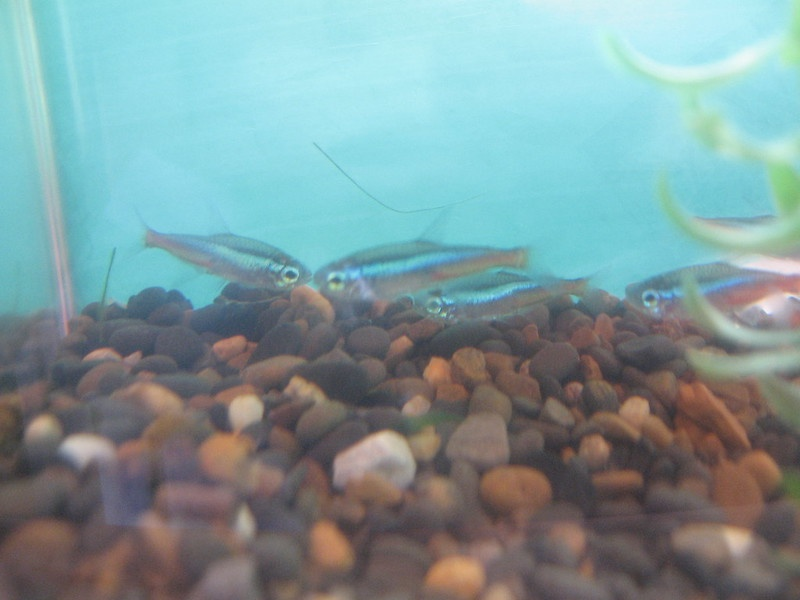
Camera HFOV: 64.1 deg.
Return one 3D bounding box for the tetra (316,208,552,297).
[{"bbox_3d":[0.080,-0.103,1.961,0.674,0.224,0.151,-20,2,-15],"label":"tetra"}]
